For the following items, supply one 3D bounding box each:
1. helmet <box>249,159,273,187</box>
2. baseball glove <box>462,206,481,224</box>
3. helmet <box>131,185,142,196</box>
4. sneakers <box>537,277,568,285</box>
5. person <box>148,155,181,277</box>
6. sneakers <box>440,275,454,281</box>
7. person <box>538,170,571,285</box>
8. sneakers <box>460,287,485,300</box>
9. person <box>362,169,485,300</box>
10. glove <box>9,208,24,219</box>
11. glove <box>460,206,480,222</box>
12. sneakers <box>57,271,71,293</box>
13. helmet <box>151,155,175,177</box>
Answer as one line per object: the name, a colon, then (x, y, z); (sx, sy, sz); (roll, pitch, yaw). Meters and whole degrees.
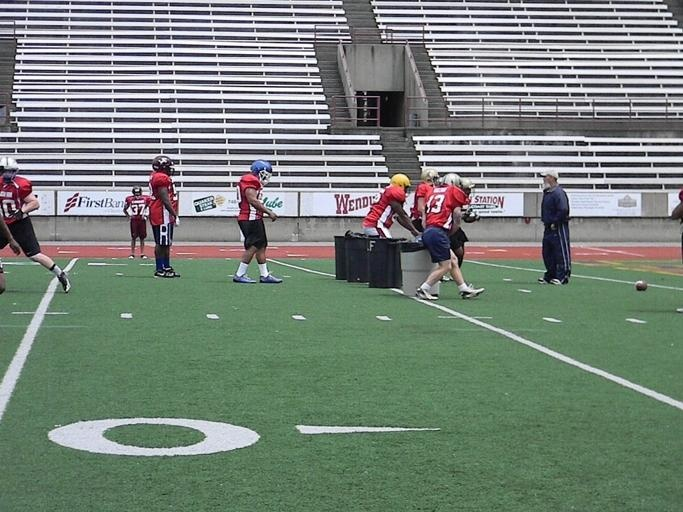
helmet: (-1.347, -1.552, 16.808); (0.608, 0.468, 0.446); (2, 12, -16)
baseball glove: (2.296, -0.727, 16.132); (0.304, 0.144, 0.363); (3, 8, 13)
helmet: (-5.149, -1.619, 23.037); (0.370, 0.289, 0.398); (-1, 16, -10)
sneakers: (3.883, 0.464, 16.693); (0.541, 0.188, 0.169); (-3, 1, 18)
person: (-3.355, -0.750, 17.234); (0.521, 2.279, 0.944); (-4, 8, -11)
sneakers: (2.060, 0.418, 17.410); (0.171, 0.158, 0.448); (-1, -5, 4)
person: (3.984, -0.543, 16.915); (0.542, 2.085, 1.219); (0, 8, 13)
sneakers: (2.063, 0.545, 13.860); (0.496, 0.196, 0.152); (-4, -4, 4)
person: (1.669, -0.316, 13.979); (0.942, 1.892, 1.472); (0, 8, 11)
glove: (-4.658, -0.599, 13.092); (0.161, 0.053, 0.147); (5, -26, -39)
glove: (2.299, -0.746, 16.127); (0.295, 0.134, 0.335); (3, 5, 8)
sneakers: (-4.455, 0.415, 14.615); (0.129, 0.328, 0.171); (-1, 16, 42)
helmet: (-3.334, -1.729, 17.405); (0.511, 0.381, 0.383); (-10, 20, -26)
